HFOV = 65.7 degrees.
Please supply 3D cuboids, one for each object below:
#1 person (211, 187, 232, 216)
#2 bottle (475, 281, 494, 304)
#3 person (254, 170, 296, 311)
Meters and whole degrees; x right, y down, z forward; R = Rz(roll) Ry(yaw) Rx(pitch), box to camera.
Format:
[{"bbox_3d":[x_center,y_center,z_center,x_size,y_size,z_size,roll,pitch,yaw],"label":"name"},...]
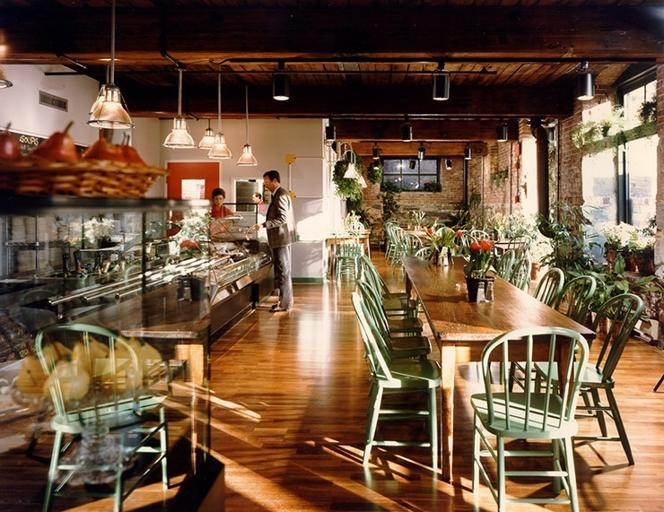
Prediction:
[{"bbox_3d":[-1.520,-0.734,7.090,0.249,0.402,0.959,-1,3,-11],"label":"person"},{"bbox_3d":[1.045,0.251,3.515,0.149,0.137,0.137,1,-5,-2],"label":"bottle"},{"bbox_3d":[-0.739,-0.175,6.857,0.463,1.869,0.625,-1,4,-3],"label":"person"}]
